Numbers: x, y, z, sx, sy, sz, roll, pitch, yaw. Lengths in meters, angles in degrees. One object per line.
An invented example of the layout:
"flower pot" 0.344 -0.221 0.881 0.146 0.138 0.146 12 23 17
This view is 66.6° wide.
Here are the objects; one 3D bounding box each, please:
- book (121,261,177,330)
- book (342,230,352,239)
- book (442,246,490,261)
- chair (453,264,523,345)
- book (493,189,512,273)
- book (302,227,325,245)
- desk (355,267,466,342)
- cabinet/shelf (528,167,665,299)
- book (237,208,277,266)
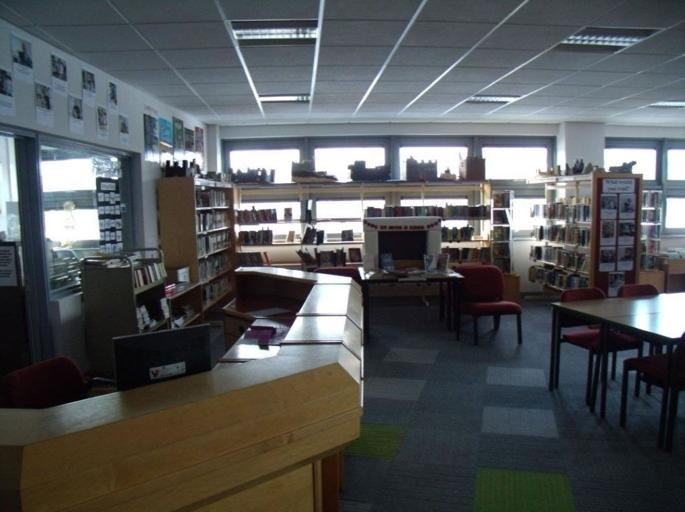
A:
"book" -2.212 0.461 5.855 0.250 0.747 0.759 -10 8 -9
"book" 0.060 -0.389 9.432 0.145 0.135 0.048 0 6 0
"book" 2.238 -0.019 9.285 0.730 0.261 0.094 1 12 11
"chair" 1.939 0.647 7.028 0.761 0.961 1.066 -1 12 5
"book" 2.781 -0.435 9.174 0.347 1.363 0.406 2 12 17
"book" -0.538 -0.333 9.220 0.434 0.322 0.259 -1 6 -9
"desk" 1.127 0.550 7.391 1.088 0.691 1.094 0 6 2
"cabinet/shelf" 4.074 -0.336 8.415 0.796 2.247 2.389 0 2 -8
"book" -1.545 -0.351 9.326 0.728 1.070 0.476 -4 12 -12
